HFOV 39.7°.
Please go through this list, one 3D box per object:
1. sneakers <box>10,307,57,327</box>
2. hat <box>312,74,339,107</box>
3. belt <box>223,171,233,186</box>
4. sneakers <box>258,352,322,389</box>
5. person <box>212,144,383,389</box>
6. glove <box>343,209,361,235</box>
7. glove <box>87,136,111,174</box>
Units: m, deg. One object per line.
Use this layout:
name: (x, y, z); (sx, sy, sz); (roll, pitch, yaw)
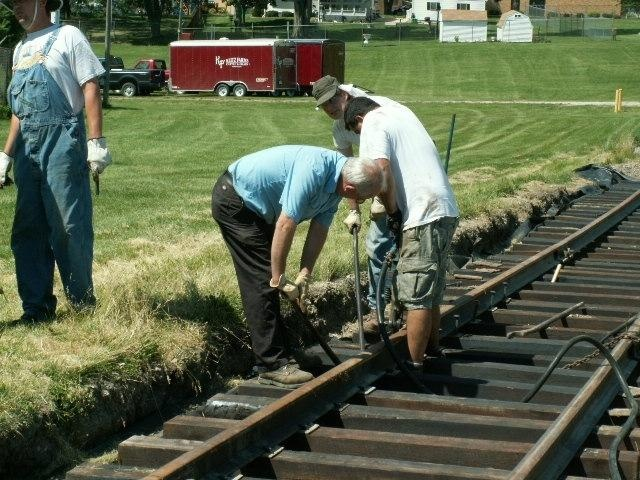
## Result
sneakers: (-2.439, 0.669, 7.602); (0.385, 0.163, 0.125); (6, -4, -19)
hat: (0.070, -1.319, 7.731); (0.197, 0.141, 0.267); (-33, 12, 45)
belt: (-0.714, -0.482, 6.874); (0.074, 0.032, 0.117); (-5, 59, -32)
sneakers: (-0.264, 1.032, 6.897); (0.493, 0.234, 0.191); (-1, 5, 19)
person: (-0.234, 0.191, 6.839); (1.210, 1.809, 0.634); (0, 14, -2)
glove: (0.280, -0.142, 7.757); (0.141, 0.192, 0.078); (3, 52, -4)
glove: (-1.899, -0.717, 7.636); (0.190, 0.342, 0.505); (-3, 13, -13)
